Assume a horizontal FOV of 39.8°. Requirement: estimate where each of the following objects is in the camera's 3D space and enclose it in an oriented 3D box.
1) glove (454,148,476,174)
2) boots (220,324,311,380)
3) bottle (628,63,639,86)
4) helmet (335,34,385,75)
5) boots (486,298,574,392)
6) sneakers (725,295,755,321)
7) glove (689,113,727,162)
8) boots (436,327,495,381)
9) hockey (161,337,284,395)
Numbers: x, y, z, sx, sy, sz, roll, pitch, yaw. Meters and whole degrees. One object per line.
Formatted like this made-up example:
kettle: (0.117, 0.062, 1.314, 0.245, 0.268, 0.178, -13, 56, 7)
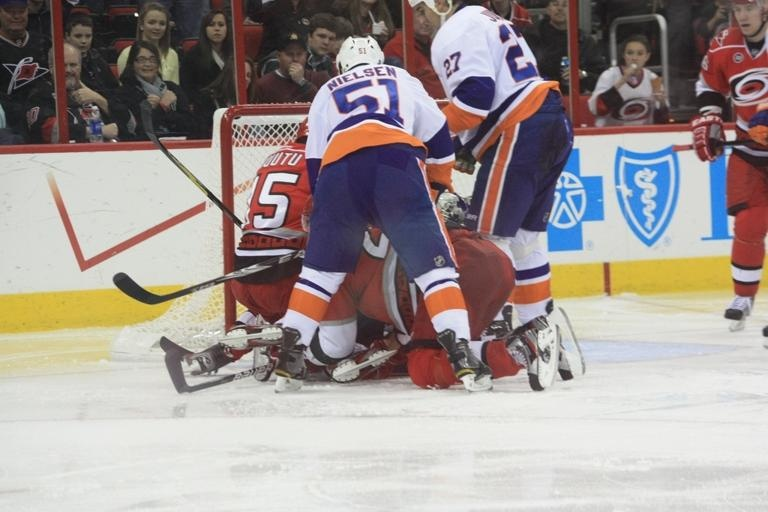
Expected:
glove: (0.456, -0.531, 5.958, 0.137, 0.109, 0.124, 2, 0, -24)
boots: (-0.603, 0.486, 5.319, 0.369, 0.173, 0.302, -6, -17, 42)
bottle: (1.846, -1.348, 7.860, 0.089, 0.107, 0.031, -4, 12, -43)
helmet: (-0.119, -1.021, 5.573, 0.195, 0.193, 0.215, 0, -37, -6)
boots: (0.726, 0.458, 5.453, 0.449, 0.393, 0.191, -13, 3, -17)
sneakers: (2.209, 0.335, 6.615, 0.125, 0.144, 0.213, 5, 13, 29)
glove: (2.098, -0.760, 6.876, 0.189, 0.306, 0.216, 1, 12, 13)
boots: (0.400, 0.479, 5.177, 0.254, 0.258, 0.112, -5, 13, -16)
hockey: (-0.835, 0.526, 5.388, 0.523, 0.208, 0.281, -14, 41, -26)
